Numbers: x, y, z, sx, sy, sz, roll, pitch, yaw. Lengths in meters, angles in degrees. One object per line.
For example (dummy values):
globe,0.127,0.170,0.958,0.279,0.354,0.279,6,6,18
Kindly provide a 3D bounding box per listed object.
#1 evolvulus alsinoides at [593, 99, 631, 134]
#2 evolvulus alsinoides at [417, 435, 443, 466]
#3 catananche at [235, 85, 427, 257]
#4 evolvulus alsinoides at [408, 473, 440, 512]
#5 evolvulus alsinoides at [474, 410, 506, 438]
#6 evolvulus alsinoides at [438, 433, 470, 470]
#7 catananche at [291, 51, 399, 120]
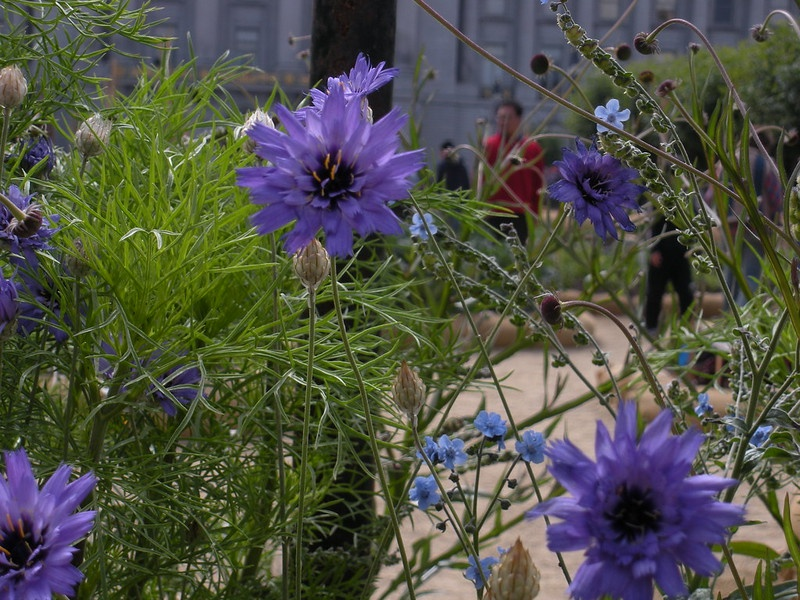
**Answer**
evolvulus alsinoides,0.298,-0.254,2.259,0.049,0.066,0.012,11,-3,-16
evolvulus alsinoides,0.040,0.198,2.165,0.017,0.032,0.039,17,-60,24
catananche,-0.089,-0.158,2.051,0.233,0.223,0.117,8,-25,-1
evolvulus alsinoides,0.035,0.261,2.177,0.043,0.061,0.057,6,-27,2
evolvulus alsinoides,0.126,0.168,2.175,0.035,0.034,0.014,41,-33,16
evolvulus alsinoides,0.073,0.210,2.159,0.035,0.045,0.014,13,-32,-16
catananche,-0.058,-0.286,2.116,0.084,0.136,0.099,-6,16,-25
